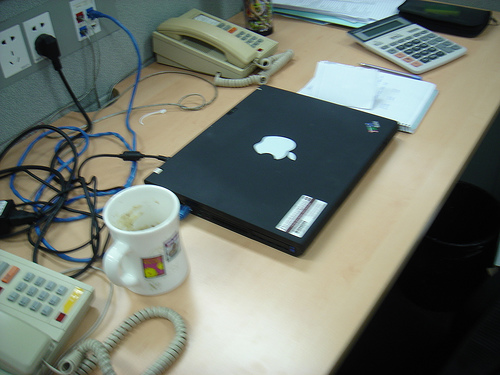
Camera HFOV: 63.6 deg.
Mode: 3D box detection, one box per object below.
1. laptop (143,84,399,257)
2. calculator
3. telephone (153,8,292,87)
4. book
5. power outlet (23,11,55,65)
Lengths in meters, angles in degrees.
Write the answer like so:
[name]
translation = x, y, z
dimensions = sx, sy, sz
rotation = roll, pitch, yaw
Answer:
[laptop]
translation = 0.065, -0.048, 0.911
dimensions = 0.382, 0.062, 0.474
rotation = 24, 48, 23
[calculator]
translation = 0.529, -0.485, 1.358
dimensions = 0.268, 0.042, 0.329
rotation = -36, 53, -27
[telephone]
translation = -0.090, -0.405, 1.284
dimensions = 0.363, 0.114, 0.259
rotation = 20, 49, 16
[book]
translation = 0.336, -0.270, 1.154
dimensions = 0.312, 0.032, 0.238
rotation = 20, 46, 23
[power outlet]
translation = -0.513, -0.365, 0.975
dimensions = 0.010, 0.124, 0.094
rotation = 25, 49, 28
